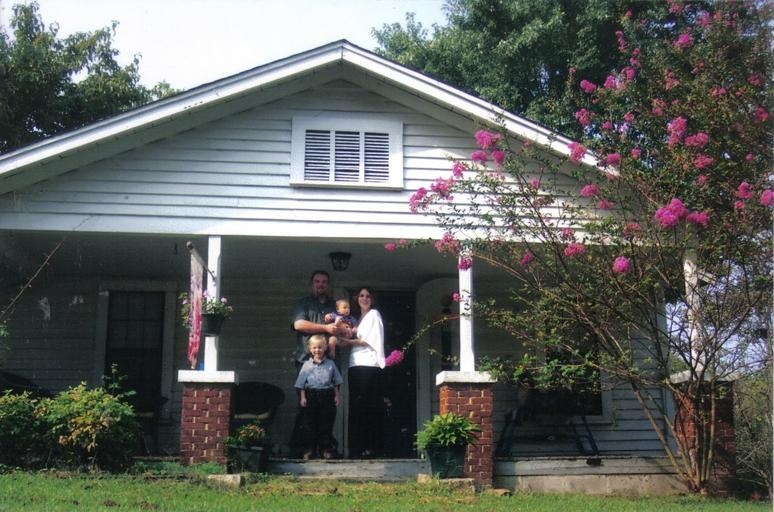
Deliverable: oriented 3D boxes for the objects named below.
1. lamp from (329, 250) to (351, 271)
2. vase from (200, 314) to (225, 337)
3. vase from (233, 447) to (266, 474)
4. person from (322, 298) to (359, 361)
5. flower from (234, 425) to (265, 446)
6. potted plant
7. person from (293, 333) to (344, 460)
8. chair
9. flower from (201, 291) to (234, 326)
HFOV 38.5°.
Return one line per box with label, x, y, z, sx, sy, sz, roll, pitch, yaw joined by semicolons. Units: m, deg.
lamp;-0.940;0.108;21.426;0.367;0.282;0.381;-7;-22;23
vase;-3.159;1.247;19.847;0.349;0.310;0.381;1;-12;-2
vase;-2.450;3.581;19.354;0.491;0.337;0.430;3;-6;-29
person;-0.846;1.360;20.428;0.603;1.147;0.608;5;-14;-20
flower;-2.424;3.161;19.414;0.355;0.271;0.373;0;-12;4
potted plant;1.003;3.421;19.574;0.997;1.034;1.160;9;-18;-40
person;-1.285;2.585;20.128;0.797;2.254;0.595;2;-13;-6
chair;-3.435;3.084;21.312;2.827;1.555;1.652;2;-14;-6
flower;-3.095;0.943;19.949;0.518;0.409;0.544;0;-3;11
